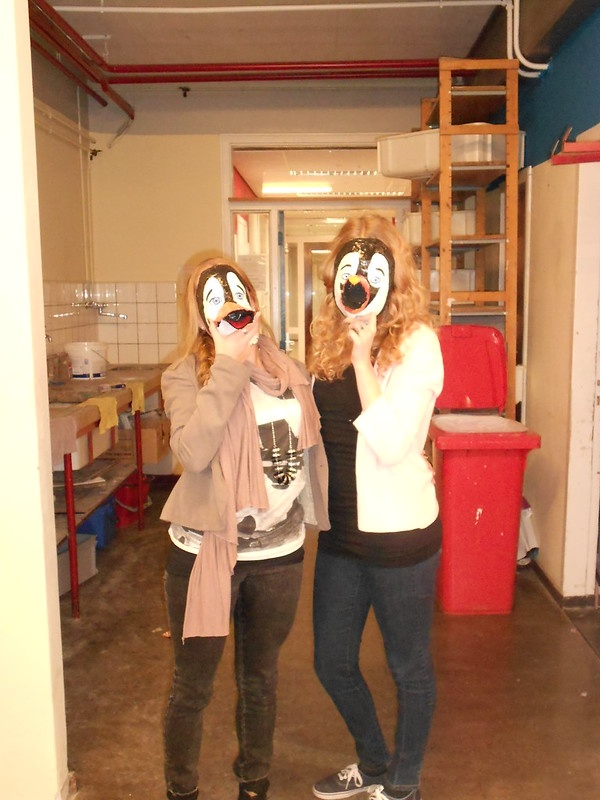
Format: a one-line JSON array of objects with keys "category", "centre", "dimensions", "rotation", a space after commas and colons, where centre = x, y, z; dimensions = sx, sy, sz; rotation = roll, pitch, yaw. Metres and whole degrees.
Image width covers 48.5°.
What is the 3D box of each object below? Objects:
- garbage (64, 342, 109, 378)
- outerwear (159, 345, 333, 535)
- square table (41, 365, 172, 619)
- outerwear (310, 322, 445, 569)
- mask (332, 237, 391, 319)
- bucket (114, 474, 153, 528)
[{"category": "garbage", "centre": [-1.187, -0.214, 3.744], "dimensions": [0.211, 0.158, 0.215], "rotation": [1, 2, 26]}, {"category": "outerwear", "centre": [-0.108, 0.092, 1.296], "dimensions": [0.330, 0.366, 0.239], "rotation": [-3, 9, -13]}, {"category": "square table", "centre": [-0.839, 0.401, 2.883], "dimensions": [0.306, 0.507, 1.003], "rotation": [-3, 12, -5]}, {"category": "outerwear", "centre": [0.142, 0.088, 1.304], "dimensions": [0.262, 0.454, 0.225], "rotation": [0, 8, 9]}, {"category": "mask", "centre": [0.123, -0.247, 1.348], "dimensions": [0.130, 0.157, 0.099], "rotation": [1, 9, 14]}, {"category": "bucket", "centre": [-0.969, 0.580, 3.902], "dimensions": [0.249, 0.244, 0.353], "rotation": [2, 9, 5]}]
